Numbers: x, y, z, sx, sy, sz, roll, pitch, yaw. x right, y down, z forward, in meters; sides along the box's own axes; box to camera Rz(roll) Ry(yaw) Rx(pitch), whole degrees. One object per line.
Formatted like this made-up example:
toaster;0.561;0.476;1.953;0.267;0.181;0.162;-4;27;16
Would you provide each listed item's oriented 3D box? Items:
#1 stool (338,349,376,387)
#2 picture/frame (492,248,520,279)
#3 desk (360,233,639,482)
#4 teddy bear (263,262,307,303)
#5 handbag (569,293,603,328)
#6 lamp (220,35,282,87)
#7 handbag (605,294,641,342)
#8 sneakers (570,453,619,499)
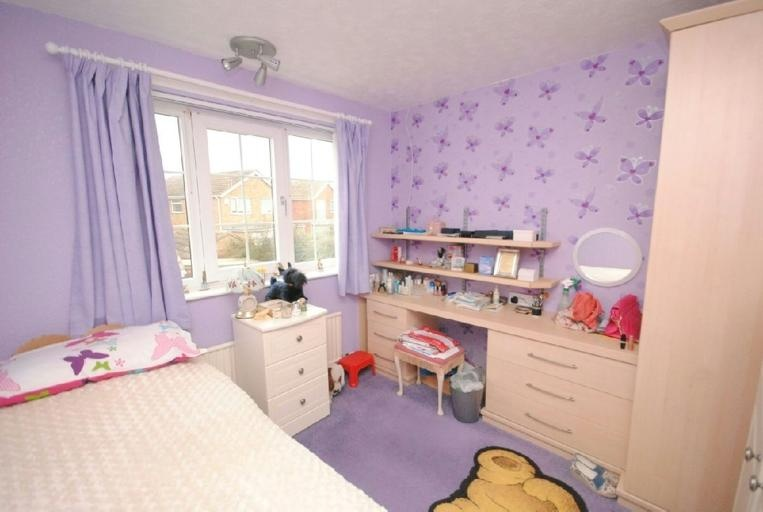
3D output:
stool;-0.236;1.041;4.821;0.291;0.203;0.370;9;15;41
picture/frame;1.108;0.068;4.356;0.242;0.300;0.033;9;-7;43
desk;0.955;0.953;4.452;2.500;1.117;0.572;6;13;39
teddy bear;-0.847;0.251;4.314;0.382;0.280;0.194;-1;10;3
handbag;1.637;0.415;3.946;0.230;0.272;0.110;25;-21;28
lamp;-0.960;-1.397;3.711;0.446;0.164;0.435;4;15;1
handbag;1.857;0.482;3.776;0.333;0.228;0.180;-3;9;-38
sneakers;1.591;1.633;3.690;0.181;0.111;0.315;-33;32;-25
